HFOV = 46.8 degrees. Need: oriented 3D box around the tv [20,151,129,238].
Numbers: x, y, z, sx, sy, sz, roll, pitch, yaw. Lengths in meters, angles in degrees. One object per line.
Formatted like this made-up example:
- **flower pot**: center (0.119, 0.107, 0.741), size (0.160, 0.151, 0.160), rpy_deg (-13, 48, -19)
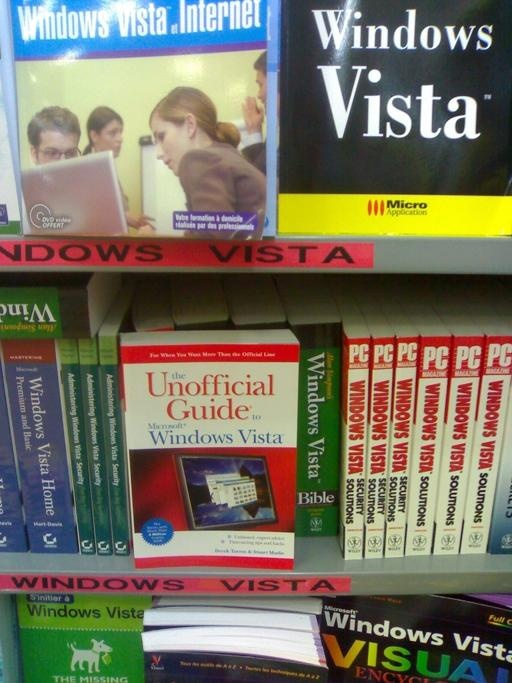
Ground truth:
- **tv**: center (-0.188, -0.151, 0.625), size (0.104, 0.074, 0.077), rpy_deg (-3, 18, 5)
